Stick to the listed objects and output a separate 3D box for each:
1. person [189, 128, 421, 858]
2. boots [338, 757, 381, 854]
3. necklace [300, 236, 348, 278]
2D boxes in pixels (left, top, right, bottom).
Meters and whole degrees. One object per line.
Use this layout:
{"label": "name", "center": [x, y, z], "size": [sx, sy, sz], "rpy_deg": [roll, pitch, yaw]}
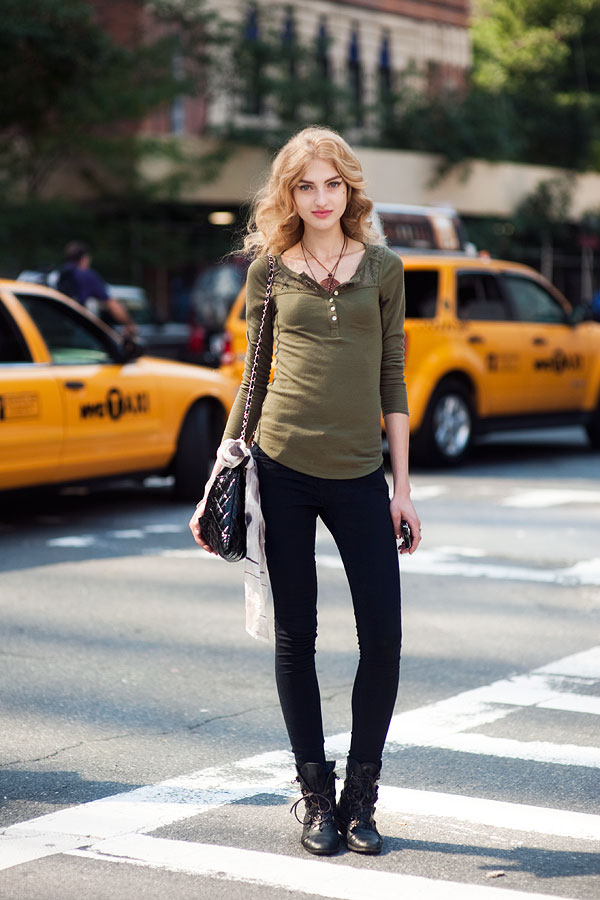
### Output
{"label": "person", "center": [0.039, 0.066, 2.640], "size": [0.451, 1.661, 0.319], "rpy_deg": [-1, 3, 17]}
{"label": "boots", "center": [0.145, 0.805, 2.582], "size": [0.092, 0.159, 0.238], "rpy_deg": [5, 3, -6]}
{"label": "necklace", "center": [0.060, -0.436, 2.632], "size": [0.075, 0.118, 0.024], "rpy_deg": [-3, -18, 0]}
